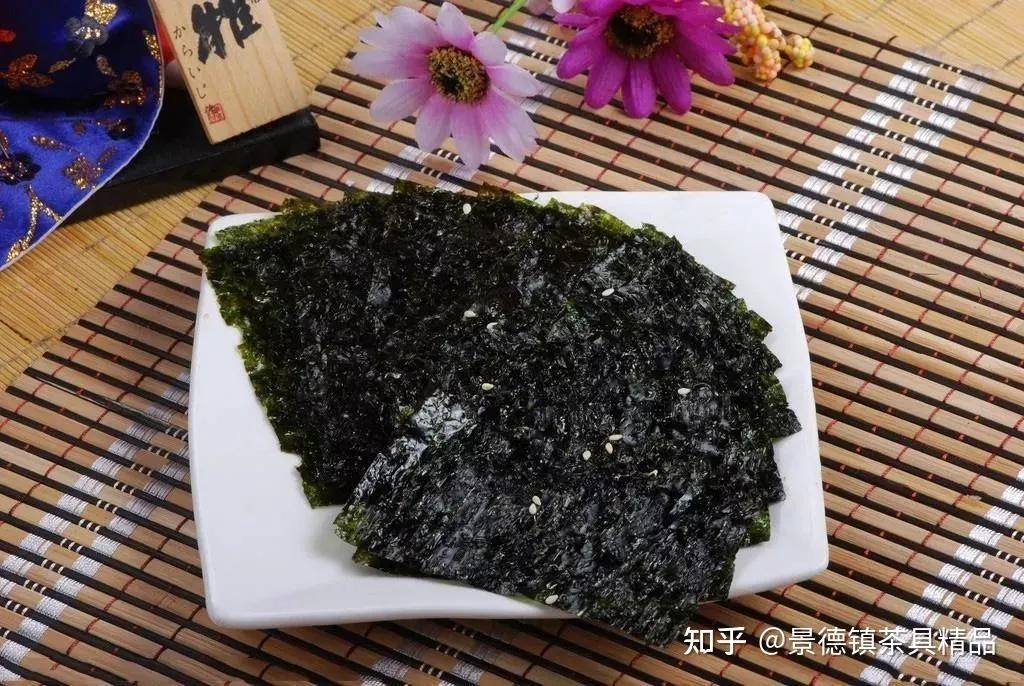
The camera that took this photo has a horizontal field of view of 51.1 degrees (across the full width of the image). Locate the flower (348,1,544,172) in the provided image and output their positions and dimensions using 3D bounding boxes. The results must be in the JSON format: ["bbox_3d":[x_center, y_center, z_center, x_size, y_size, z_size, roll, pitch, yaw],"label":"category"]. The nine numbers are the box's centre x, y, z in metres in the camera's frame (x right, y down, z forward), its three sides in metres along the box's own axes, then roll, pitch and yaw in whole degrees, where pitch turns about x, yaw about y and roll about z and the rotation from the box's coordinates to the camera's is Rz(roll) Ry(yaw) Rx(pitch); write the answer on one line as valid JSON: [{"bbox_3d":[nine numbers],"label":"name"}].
[{"bbox_3d":[-0.241,-0.987,4.111,0.683,0.670,0.179,30,47,-8],"label":"flower"}]
